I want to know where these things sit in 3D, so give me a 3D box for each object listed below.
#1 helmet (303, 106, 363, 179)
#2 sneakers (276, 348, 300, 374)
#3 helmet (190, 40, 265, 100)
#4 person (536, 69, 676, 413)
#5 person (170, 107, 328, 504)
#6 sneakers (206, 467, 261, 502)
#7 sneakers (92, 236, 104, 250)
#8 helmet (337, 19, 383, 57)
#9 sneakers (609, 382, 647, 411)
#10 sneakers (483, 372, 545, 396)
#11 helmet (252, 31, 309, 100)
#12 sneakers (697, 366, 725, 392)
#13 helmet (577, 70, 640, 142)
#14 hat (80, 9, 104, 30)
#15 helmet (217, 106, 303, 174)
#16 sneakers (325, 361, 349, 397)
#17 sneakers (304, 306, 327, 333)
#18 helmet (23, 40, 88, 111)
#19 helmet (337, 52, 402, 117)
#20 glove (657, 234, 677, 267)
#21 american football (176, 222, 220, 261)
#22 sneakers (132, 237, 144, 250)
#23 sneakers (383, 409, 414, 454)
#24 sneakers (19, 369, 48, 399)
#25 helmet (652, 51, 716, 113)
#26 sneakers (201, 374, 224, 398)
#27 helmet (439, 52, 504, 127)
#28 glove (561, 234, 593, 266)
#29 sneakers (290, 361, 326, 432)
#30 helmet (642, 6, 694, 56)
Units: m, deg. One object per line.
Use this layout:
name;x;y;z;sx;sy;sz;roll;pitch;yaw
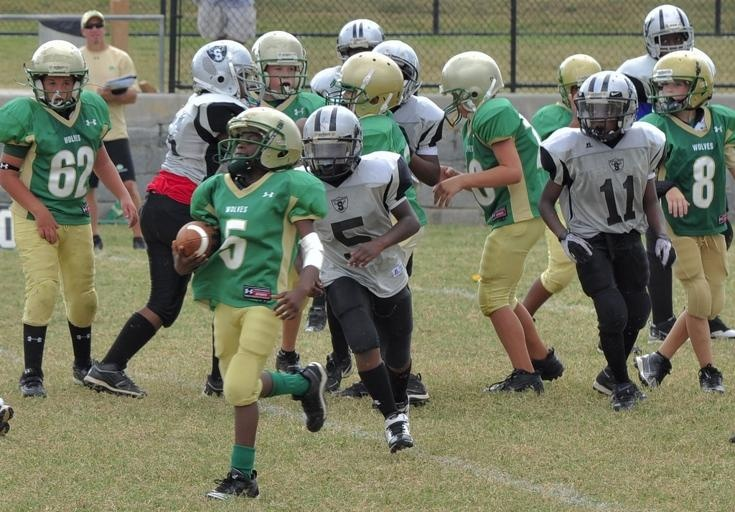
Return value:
helmet;-0.184;-0.711;5.864;0.333;0.382;0.457;-3;18;12
sneakers;-0.582;0.765;6.937;0.177;0.168;0.100;-2;48;-4
helmet;-0.980;-1.315;6.736;0.495;0.385;0.368;-1;10;-6
person;1.618;-0.105;6.479;0.926;2.276;0.395;3;8;9
person;-0.673;0.241;5.621;0.898;2.217;0.635;0;8;-12
sneakers;-0.748;1.316;5.454;0.355;0.169;0.130;3;-1;-9
sneakers;-2.852;-0.140;10.058;0.112;0.142;0.325;-9;7;-9
helmet;-0.056;-1.730;7.640;0.273;0.269;0.346;-10;15;9
sneakers;1.788;0.948;6.546;0.117;0.117;0.281;12;20;40
sneakers;1.044;0.896;6.847;0.438;0.185;0.162;3;0;2
helmet;-0.619;-1.371;6.870;0.391;0.483;0.486;-7;19;-25
sneakers;2.450;0.863;6.769;0.181;0.170;0.163;4;9;19
helmet;1.569;-0.974;6.265;0.372;0.436;0.478;0;10;28
hat;-3.099;-2.674;10.714;0.235;0.126;0.359;-13;10;-11
helmet;-0.642;-0.660;5.741;0.452;0.352;0.378;5;-9;-26
sneakers;-0.240;0.892;6.950;0.106;0.143;0.318;10;45;20
sneakers;-0.430;0.531;8.028;0.132;0.156;0.372;0;4;3
helmet;-2.152;-1.281;6.719;0.415;0.417;0.475;-2;22;-11
helmet;0.033;-1.165;6.510;0.460;0.365;0.356;-14;43;-7
glove;1.998;-0.029;6.375;0.077;0.193;0.143;-11;50;24
american football;-1.021;-0.098;5.656;0.247;0.250;0.303;-11;4;-16
sneakers;-2.480;-0.140;10.306;0.146;0.138;0.077;3;27;0
sneakers;0.194;1.093;5.945;0.161;0.236;0.268;1;8;-3
sneakers;-2.321;0.875;6.603;0.177;0.169;0.186;-2;9;-21
helmet;2.294;-1.265;6.867;0.488;0.377;0.368;-10;4;-34
sneakers;-1.080;0.916;6.703;0.082;0.102;0.213;5;12;-16
helmet;0.781;-1.247;7.024;0.509;0.505;0.430;2;9;10
glove;1.416;-0.041;6.352;0.161;0.211;0.063;-48;14;-26
sneakers;-0.317;0.846;5.815;0.152;0.449;0.196;-2;9;37
helmet;2.531;-1.945;8.031;0.331;0.359;0.459;-9;31;6
